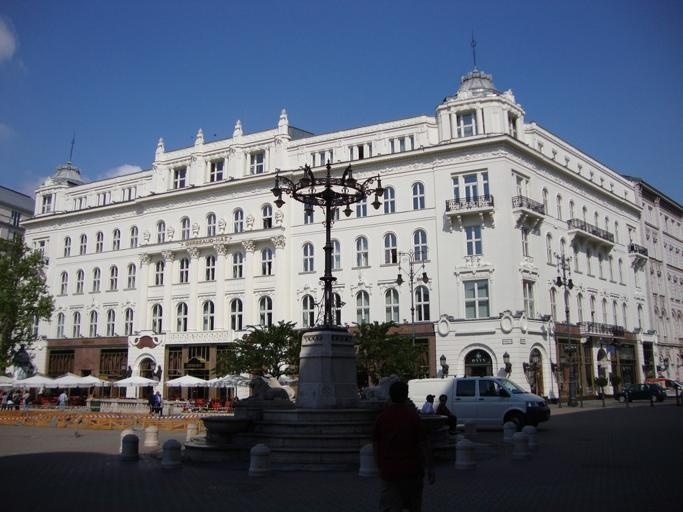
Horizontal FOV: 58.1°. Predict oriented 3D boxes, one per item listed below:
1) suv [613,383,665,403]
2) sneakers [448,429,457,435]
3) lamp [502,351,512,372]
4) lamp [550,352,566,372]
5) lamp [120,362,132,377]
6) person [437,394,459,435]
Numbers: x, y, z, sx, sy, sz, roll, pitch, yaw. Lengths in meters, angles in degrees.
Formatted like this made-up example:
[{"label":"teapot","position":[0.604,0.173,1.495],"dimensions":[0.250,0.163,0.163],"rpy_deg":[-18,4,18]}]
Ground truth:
[{"label":"suv","position":[23.098,10.319,46.626],"dimensions":[3.523,1.522,2.331],"rpy_deg":[-3,-17,7]},{"label":"sneakers","position":[4.106,6.507,22.752],"dimensions":[0.234,0.231,0.418],"rpy_deg":[-5,-16,12]},{"label":"lamp","position":[11.975,7.668,44.376],"dimensions":[0.540,1.467,1.076],"rpy_deg":[-6,-17,15]},{"label":"lamp","position":[17.258,8.504,49.265],"dimensions":[1.575,1.587,0.908],"rpy_deg":[6,-17,-22]},{"label":"lamp","position":[-20.291,10.784,57.652],"dimensions":[1.105,1.584,1.201],"rpy_deg":[-2,-12,16]},{"label":"person","position":[3.894,5.860,23.056],"dimensions":[0.686,1.394,1.811],"rpy_deg":[-3,-17,8]}]
